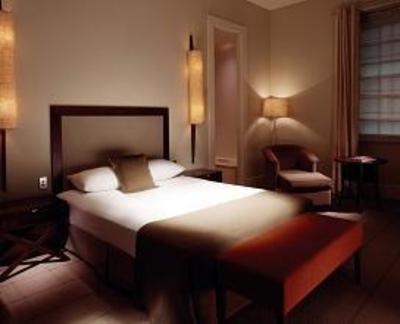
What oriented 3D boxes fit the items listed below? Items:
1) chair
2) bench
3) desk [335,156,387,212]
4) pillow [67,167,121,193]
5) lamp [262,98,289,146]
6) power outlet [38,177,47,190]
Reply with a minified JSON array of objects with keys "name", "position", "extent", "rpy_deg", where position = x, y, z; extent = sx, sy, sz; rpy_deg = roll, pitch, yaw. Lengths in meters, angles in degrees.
[{"name":"chair","position":[1.356,0.217,4.371],"extent":[0.693,0.897,1.128],"rpy_deg":[-2,5,-4]},{"name":"bench","position":[0.634,0.779,2.128],"extent":[1.173,0.561,0.448],"rpy_deg":[-11,16,-39]},{"name":"desk","position":[2.201,0.315,4.259],"extent":[0.652,0.719,0.584],"rpy_deg":[-2,6,-19]},{"name":"pillow","position":[-1.141,0.215,3.069],"extent":[0.297,0.079,0.279],"rpy_deg":[34,2,11]},{"name":"lamp","position":[1.316,-0.667,5.417],"extent":[0.388,0.985,0.340],"rpy_deg":[5,21,21]},{"name":"power outlet","position":[-1.590,0.213,3.119],"extent":[0.019,0.173,0.114],"rpy_deg":[3,5,35]}]
